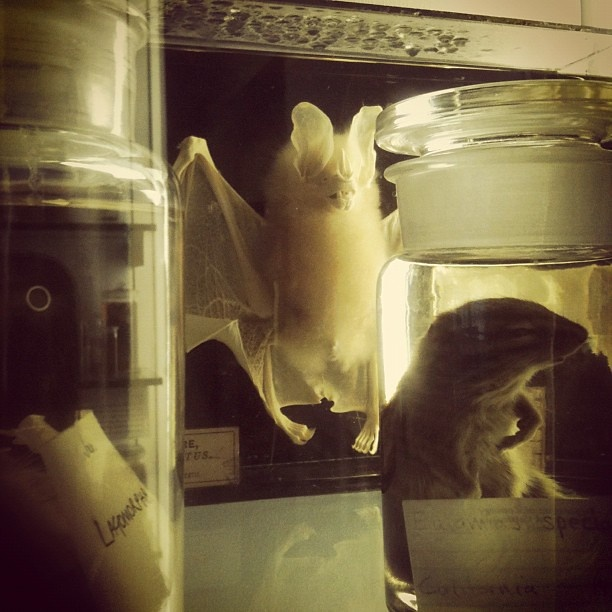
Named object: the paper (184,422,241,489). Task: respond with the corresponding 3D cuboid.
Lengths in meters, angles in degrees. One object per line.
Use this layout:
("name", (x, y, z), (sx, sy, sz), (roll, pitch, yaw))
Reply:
("paper", (-0.071, 0.108, 0.706), (0.047, 0.040, 0.005), (-5, -7, 11))

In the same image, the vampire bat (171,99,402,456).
("vampire bat", (-0.022, -0.019, 0.710), (0.249, 0.253, 0.106), (2, -13, -35))
